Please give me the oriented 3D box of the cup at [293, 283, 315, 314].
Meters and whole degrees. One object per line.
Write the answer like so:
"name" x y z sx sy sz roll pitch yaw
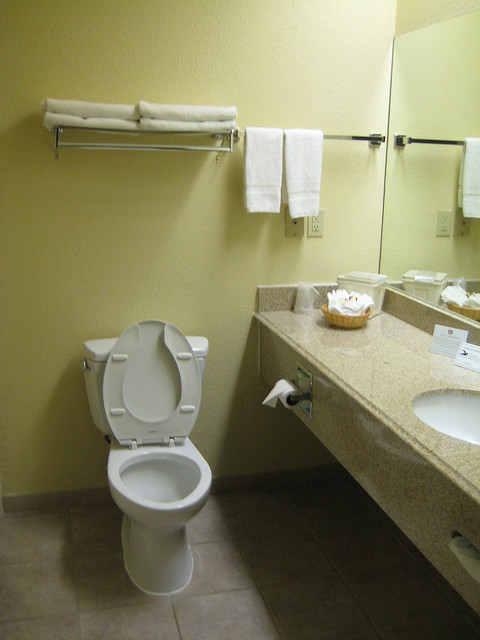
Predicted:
"cup" 0.261 -0.091 2.016 0.081 0.120 0.053 2 9 8

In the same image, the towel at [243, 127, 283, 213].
"towel" 0.084 -0.550 1.800 0.134 0.316 0.048 1 50 2

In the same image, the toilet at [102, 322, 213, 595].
"toilet" -0.263 0.438 1.613 0.338 0.821 0.478 -2 9 -18

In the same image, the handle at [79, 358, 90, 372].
"handle" -0.569 0.159 1.817 0.015 0.059 0.018 -20 9 -12

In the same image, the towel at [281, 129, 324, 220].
"towel" 0.227 -0.548 1.836 0.169 0.327 0.076 -7 20 -25

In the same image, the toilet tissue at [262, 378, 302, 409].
"toilet tissue" 0.149 0.241 1.596 0.117 0.093 0.133 5 11 23

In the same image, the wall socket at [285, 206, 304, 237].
"wall socket" 0.211 -0.392 1.938 0.087 0.166 0.014 0 1 -18

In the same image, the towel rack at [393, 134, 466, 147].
"towel rack" 0.652 -0.646 1.779 0.040 0.035 0.262 -2 16 -25
